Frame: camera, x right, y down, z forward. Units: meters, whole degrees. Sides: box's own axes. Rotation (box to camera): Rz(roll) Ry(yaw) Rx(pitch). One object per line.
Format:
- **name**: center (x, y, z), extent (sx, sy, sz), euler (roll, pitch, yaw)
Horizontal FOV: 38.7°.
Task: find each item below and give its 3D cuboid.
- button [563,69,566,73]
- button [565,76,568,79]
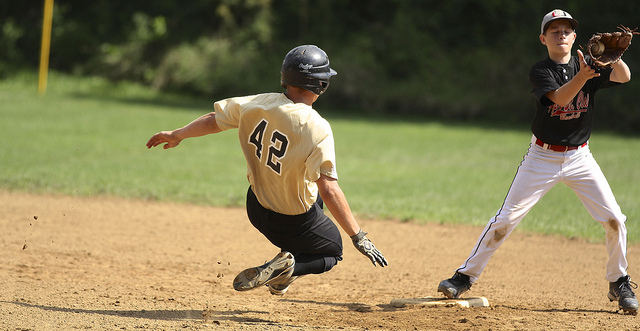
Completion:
- **button**: center (5.738, -2.228, 21.414), extent (0.018, 0.067, 0.070), euler (-4, 4, -33)
- **button**: center (5.779, -2.074, 21.403), extent (0.081, 0.076, 0.019), euler (9, 8, 22)
